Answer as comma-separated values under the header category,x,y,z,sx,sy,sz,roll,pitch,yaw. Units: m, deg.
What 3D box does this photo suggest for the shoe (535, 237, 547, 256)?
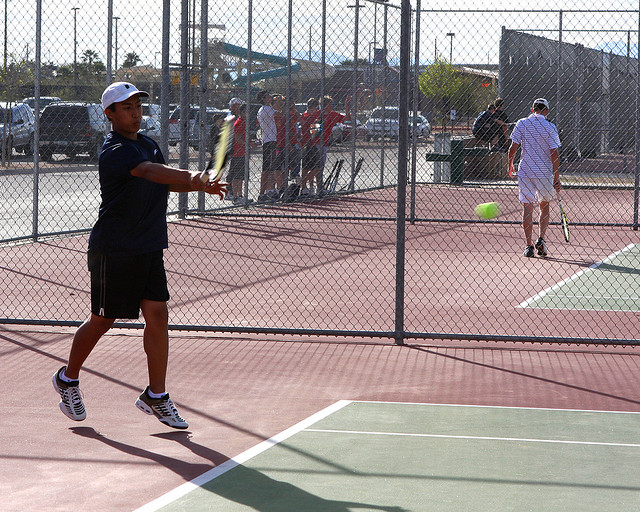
category,x,y,z,sx,sy,sz,roll,pitch,yaw
shoe,3.427,-0.145,10.920,0.129,0.179,0.396,4,-4,16

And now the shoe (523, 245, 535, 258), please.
category,x,y,z,sx,sy,sz,roll,pitch,yaw
shoe,3.246,-0.086,10.948,0.154,0.211,0.474,-1,-2,12

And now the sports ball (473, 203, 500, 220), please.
category,x,y,z,sx,sy,sz,roll,pitch,yaw
sports ball,2.262,-0.633,9.594,0.325,0.276,0.269,-5,13,-32

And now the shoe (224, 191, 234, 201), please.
category,x,y,z,sx,sy,sz,roll,pitch,yaw
shoe,-2.079,-1.347,15.799,0.189,0.229,0.462,-1,8,-16

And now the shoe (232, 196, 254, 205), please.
category,x,y,z,sx,sy,sz,roll,pitch,yaw
shoe,-1.728,-1.255,15.716,0.529,0.227,0.172,-3,5,9

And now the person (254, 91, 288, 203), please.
category,x,y,z,sx,sy,sz,roll,pitch,yaw
person,-1.153,-2.379,15.551,0.431,2.369,0.668,6,9,42

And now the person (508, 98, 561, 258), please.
category,x,y,z,sx,sy,sz,roll,pitch,yaw
person,3.248,-1.165,10.711,0.756,2.387,0.629,3,7,18

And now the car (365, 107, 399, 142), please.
category,x,y,z,sx,sy,sz,roll,pitch,yaw
car,1.494,-3.149,17.007,1.016,0.893,1.791,0,17,3
